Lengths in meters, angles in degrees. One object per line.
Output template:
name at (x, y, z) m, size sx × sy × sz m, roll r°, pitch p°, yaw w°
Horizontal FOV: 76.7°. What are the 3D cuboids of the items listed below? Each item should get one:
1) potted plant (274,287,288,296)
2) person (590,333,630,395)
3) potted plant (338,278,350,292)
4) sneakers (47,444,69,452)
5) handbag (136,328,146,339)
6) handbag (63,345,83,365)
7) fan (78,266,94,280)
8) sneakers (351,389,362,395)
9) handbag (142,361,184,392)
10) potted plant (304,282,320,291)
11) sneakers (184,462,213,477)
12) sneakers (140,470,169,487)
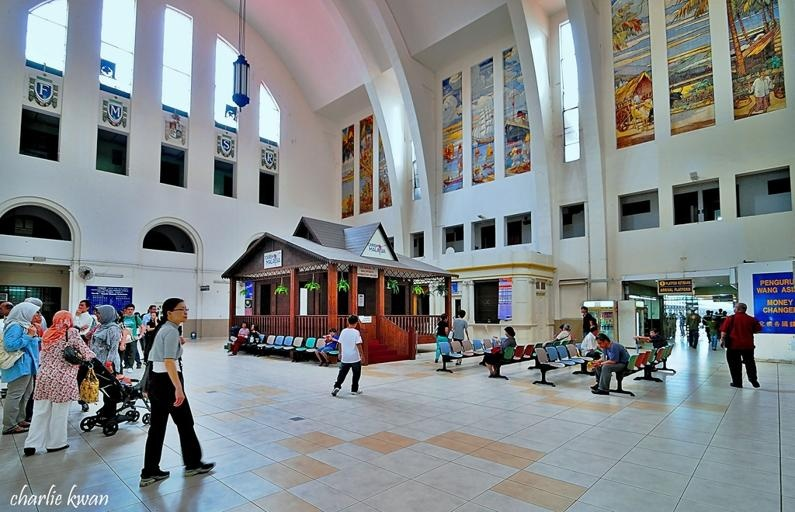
potted plant at (-5.409, 1.630, 23.432) m, size 0.615 × 0.387 × 0.618 m, roll -3°, pitch -12°, yaw 11°
person at (6.808, 3.499, 16.058) m, size 0.996 × 1.800 × 1.249 m, roll 6°, pitch 13°, yaw 24°
potted plant at (-2.332, 1.296, 21.943) m, size 0.462 × 0.471 × 1.008 m, roll 0°, pitch 11°, yaw -3°
sneakers at (-8.136, 4.617, 12.078) m, size 0.443 × 0.175 × 0.149 m, roll -1°, pitch -2°, yaw -12°
handbag at (-9.697, 2.958, 19.104) m, size 0.185 × 0.461 × 0.341 m, roll 6°, pitch -3°, yaw -35°
handbag at (-7.804, 2.380, 12.030) m, size 0.393 × 0.223 × 0.221 m, roll 42°, pitch 6°, yaw -9°
fan at (-17.455, 0.959, 28.254) m, size 0.218 × 0.792 × 0.778 m, roll 8°, pitch 14°, yaw 32°
sneakers at (-1.283, 4.281, 15.747) m, size 0.349 × 0.146 × 0.123 m, roll -3°, pitch 1°, yaw -19°
handbag at (-5.272, 2.726, 11.292) m, size 0.720 × 0.967 × 0.360 m, roll -4°, pitch -2°, yaw 23°
potted plant at (-3.948, 1.425, 23.309) m, size 0.494 × 0.241 × 0.503 m, roll -7°, pitch -12°, yaw 42°
sneakers at (-4.463, 4.838, 11.373) m, size 0.630 × 0.280 × 0.249 m, roll -4°, pitch -9°, yaw -15°
sneakers at (-5.391, 4.914, 11.237) m, size 0.625 × 0.282 × 0.242 m, roll -2°, pitch -3°, yaw -32°
